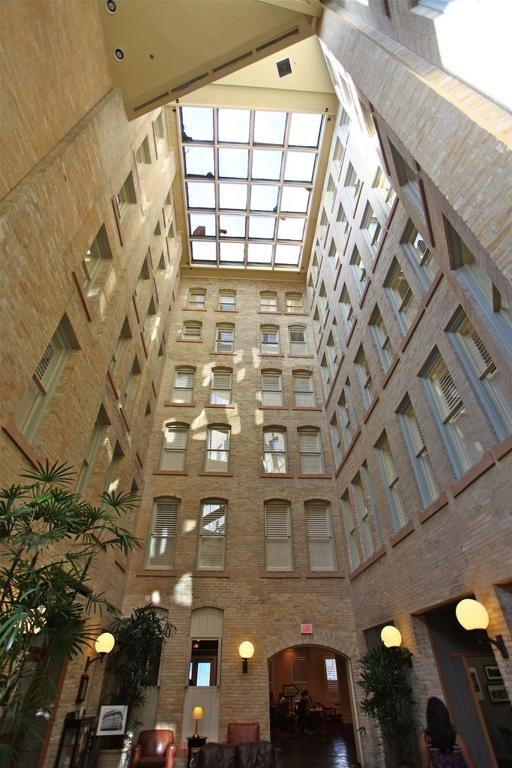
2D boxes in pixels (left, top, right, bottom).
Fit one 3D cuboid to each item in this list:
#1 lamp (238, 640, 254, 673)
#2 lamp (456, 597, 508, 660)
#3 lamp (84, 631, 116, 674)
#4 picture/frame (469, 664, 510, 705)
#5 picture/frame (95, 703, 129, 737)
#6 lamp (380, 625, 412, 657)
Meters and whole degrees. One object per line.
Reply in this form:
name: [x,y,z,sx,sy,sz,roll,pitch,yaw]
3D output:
lamp: [-0.284,7.534,9.991,0.451,0.718,0.686,-1,-41,-1]
lamp: [2.778,2.998,4.428,0.395,0.603,0.466,-21,-45,20]
lamp: [-3.350,5.680,7.695,0.411,0.770,1.435,9,-42,-12]
picture/frame: [4.311,5.530,6.661,0.516,0.618,1.624,-18,-43,18]
picture/frame: [-2.777,6.390,6.872,0.503,0.420,0.270,13,-44,-16]
lamp: [2.772,5.104,7.219,0.427,0.466,0.467,-7,-42,5]
